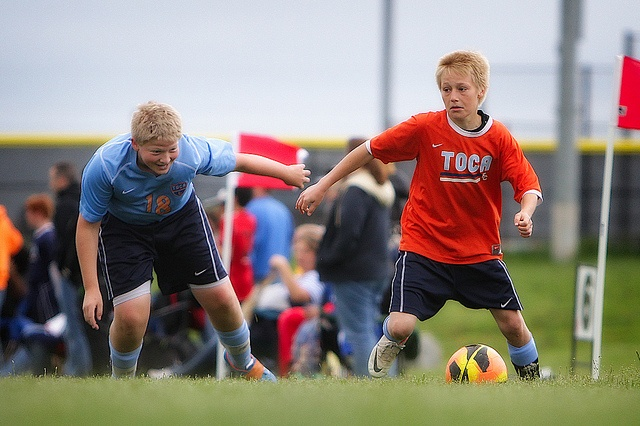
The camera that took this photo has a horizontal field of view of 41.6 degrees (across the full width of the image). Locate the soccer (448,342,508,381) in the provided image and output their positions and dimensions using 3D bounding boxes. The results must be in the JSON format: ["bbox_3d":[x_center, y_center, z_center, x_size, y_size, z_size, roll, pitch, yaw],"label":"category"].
[{"bbox_3d":[1.496,1.541,8.152,0.474,0.507,0.491,-8,-16,30],"label":"soccer"}]
